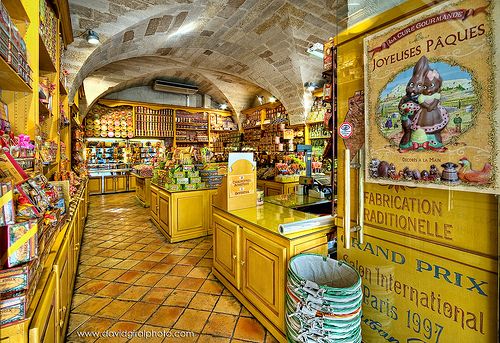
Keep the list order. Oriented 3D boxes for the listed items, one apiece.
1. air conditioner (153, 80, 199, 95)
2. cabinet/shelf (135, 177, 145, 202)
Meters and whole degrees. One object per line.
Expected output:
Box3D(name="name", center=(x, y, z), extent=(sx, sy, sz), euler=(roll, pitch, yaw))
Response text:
Box3D(name="air conditioner", center=(-2.611, -2.938, 11.095), extent=(0.583, 0.441, 1.577), euler=(11, 19, 36))
Box3D(name="cabinet/shelf", center=(-2.844, 0.452, 8.272), extent=(0.282, 0.508, 0.706), euler=(1, 2, -25))
